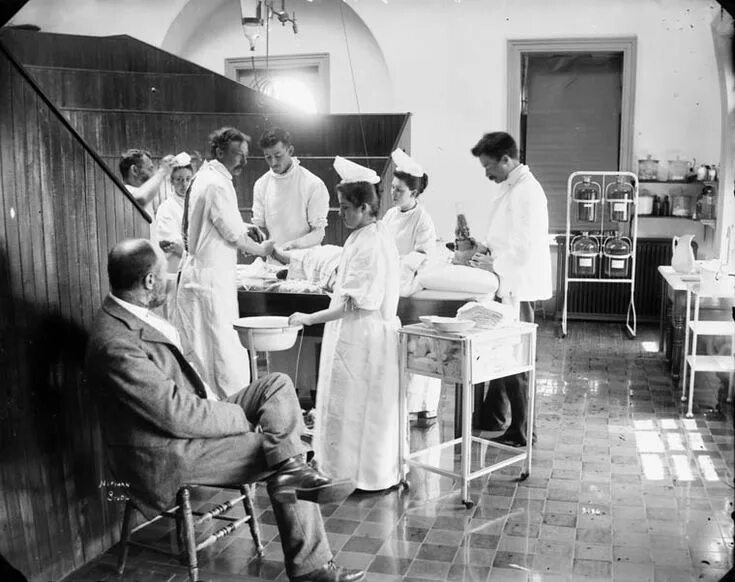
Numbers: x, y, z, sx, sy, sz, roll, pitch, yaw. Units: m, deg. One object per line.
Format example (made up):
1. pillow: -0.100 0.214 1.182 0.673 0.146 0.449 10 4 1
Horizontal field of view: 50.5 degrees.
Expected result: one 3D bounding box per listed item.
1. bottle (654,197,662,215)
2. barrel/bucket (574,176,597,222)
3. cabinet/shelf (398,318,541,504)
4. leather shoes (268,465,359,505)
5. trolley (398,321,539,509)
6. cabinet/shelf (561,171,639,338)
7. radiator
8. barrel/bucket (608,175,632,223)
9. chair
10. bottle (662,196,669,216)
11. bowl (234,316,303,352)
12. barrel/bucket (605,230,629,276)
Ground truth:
1. bottle: 3.223 -0.946 8.612 0.073 0.201 0.066 0 11 0
2. barrel/bucket: 2.403 -0.991 8.500 0.272 0.519 0.621 3 11 15
3. cabinet/shelf: 0.574 0.680 4.472 0.603 0.929 0.718 4 4 35
4. leather shoes: -0.250 0.854 3.412 0.381 0.172 0.137 3 11 15
5. trolley: 0.579 0.679 4.461 0.692 0.945 0.589 -3 6 -37
6. cabinet/shelf: 2.546 -0.388 8.460 0.725 1.799 0.600 3 12 18
7. radiator: 2.715 -0.138 8.044 0.926 0.726 0.107 1 8 6
8. barrel/bucket: 2.730 -0.964 8.376 0.273 0.509 0.552 3 11 19
9. chair: -0.865 1.014 3.750 0.552 0.895 0.530 -5 -6 27
10. bottle: 3.315 -0.942 8.597 0.068 0.208 0.088 3 12 19
11. bowl: -0.564 0.235 4.499 0.249 0.105 0.252 -3 7 0
12. barrel/bucket: 2.714 -0.361 8.439 0.281 0.504 0.446 3 11 19
